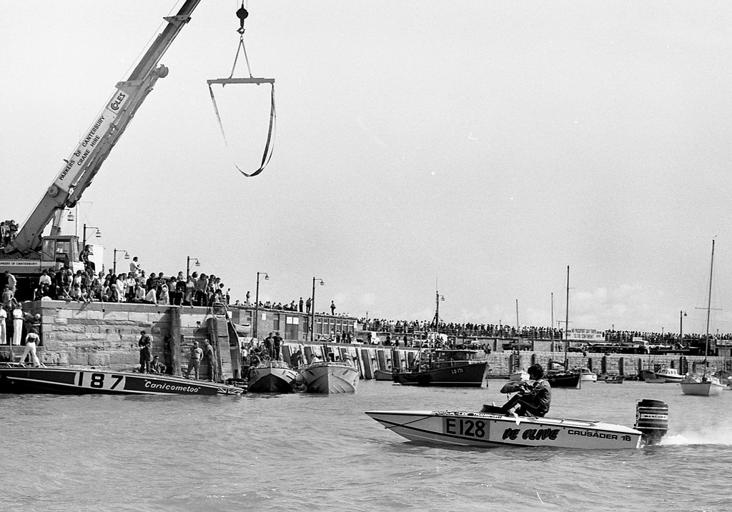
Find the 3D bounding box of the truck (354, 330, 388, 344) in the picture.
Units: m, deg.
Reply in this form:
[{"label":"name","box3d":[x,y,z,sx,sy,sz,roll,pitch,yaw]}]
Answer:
[{"label":"truck","box3d":[0.291,6.210,95.637,1.619,0.816,1.292,-2,-1,18]}]
